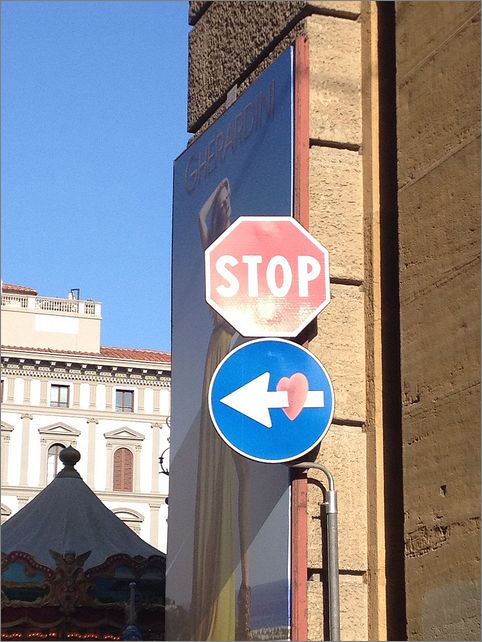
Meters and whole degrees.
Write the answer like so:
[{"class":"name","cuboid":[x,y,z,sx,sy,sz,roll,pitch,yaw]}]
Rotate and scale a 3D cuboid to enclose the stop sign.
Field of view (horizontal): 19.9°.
[{"class":"stop sign","cuboid":[0.151,-0.219,6.740,0.506,0.566,0.057,1,-10,-17]}]
